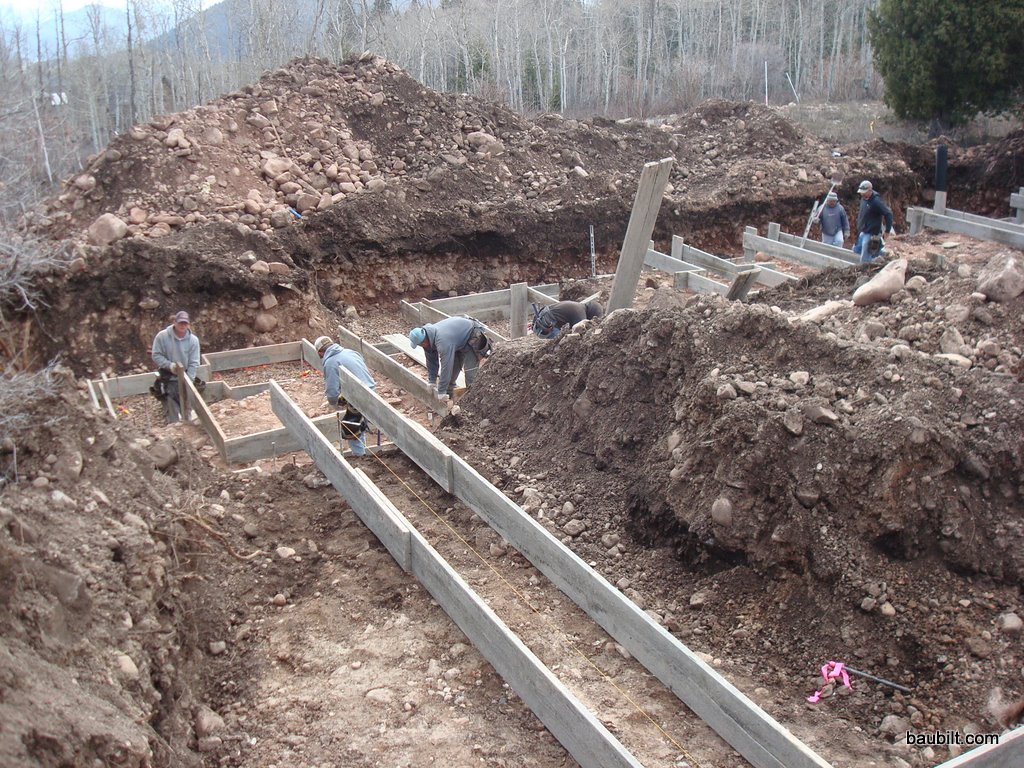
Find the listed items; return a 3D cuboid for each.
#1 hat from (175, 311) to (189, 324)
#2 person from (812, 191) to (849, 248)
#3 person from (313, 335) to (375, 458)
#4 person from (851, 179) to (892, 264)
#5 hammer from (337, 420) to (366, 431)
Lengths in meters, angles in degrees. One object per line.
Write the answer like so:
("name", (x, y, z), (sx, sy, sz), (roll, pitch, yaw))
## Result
("hat", (-3.617, -0.733, 9.608), (0.144, 0.134, 0.214), (7, 7, -31))
("person", (4.818, -2.519, 13.332), (0.500, 0.857, 1.485), (3, 23, 19))
("person", (-1.608, 0.107, 8.739), (0.446, 1.075, 0.945), (-11, 22, -18))
("person", (5.000, -2.311, 12.117), (0.445, 1.074, 1.470), (4, 23, 21))
("hammer", (-1.571, 0.404, 8.640), (0.164, 0.129, 0.136), (4, 6, -2))
